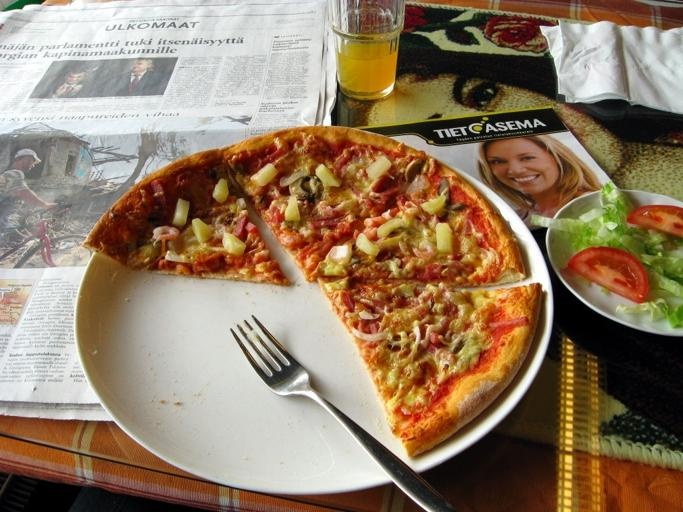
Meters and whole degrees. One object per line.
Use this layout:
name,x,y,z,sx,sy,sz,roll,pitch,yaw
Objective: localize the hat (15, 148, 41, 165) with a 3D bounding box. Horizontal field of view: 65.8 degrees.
hat,-1.638,-0.523,2.753,0.114,0.080,0.057,5,96,-23
